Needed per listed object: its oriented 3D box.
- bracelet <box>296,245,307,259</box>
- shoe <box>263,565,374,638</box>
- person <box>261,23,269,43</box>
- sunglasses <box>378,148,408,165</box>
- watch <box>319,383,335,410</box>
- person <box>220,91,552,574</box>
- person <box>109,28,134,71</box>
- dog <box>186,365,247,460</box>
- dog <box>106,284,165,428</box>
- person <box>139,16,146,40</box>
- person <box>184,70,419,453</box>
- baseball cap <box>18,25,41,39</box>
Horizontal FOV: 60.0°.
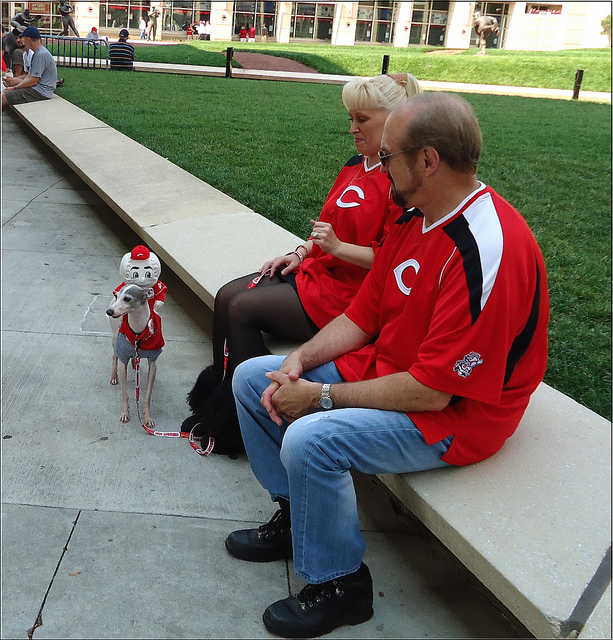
[{"bbox_3d":[-0.027,-0.373,2.918,0.019,0.069,0.065,-9,18,-32],"label":"bracelet"},{"bbox_3d":[0.046,0.868,1.842,0.401,0.295,0.161,3,19,-15],"label":"shoe"},{"bbox_3d":[-2.814,-19.132,35.980,0.497,1.203,1.305,1,20,-6],"label":"person"},{"bbox_3d":[0.288,-0.561,1.854,0.063,0.023,0.064,-10,22,6],"label":"sunglasses"},{"bbox_3d":[0.068,0.260,1.898,0.050,0.087,0.081,1,30,1],"label":"watch"},{"bbox_3d":[0.229,0.088,1.873,0.949,1.650,0.859,21,26,41],"label":"person"},{"bbox_3d":[-6.141,-8.775,17.691,0.702,1.287,1.186,2,25,-15],"label":"person"},{"bbox_3d":[-0.480,0.434,2.734,0.184,0.271,0.597,-2,16,-16],"label":"dog"},{"bbox_3d":[-0.868,0.136,2.719,0.248,0.748,0.401,-3,20,-19],"label":"dog"},{"bbox_3d":[-9.865,-17.216,31.921,0.299,1.233,1.414,-2,20,-15],"label":"person"},{"bbox_3d":[-0.028,-0.286,2.694,1.110,1.906,0.879,1,20,-20],"label":"person"},{"bbox_3d":[-5.257,-5.346,10.054,0.309,0.233,0.583,-6,23,-27],"label":"baseball cap"}]
